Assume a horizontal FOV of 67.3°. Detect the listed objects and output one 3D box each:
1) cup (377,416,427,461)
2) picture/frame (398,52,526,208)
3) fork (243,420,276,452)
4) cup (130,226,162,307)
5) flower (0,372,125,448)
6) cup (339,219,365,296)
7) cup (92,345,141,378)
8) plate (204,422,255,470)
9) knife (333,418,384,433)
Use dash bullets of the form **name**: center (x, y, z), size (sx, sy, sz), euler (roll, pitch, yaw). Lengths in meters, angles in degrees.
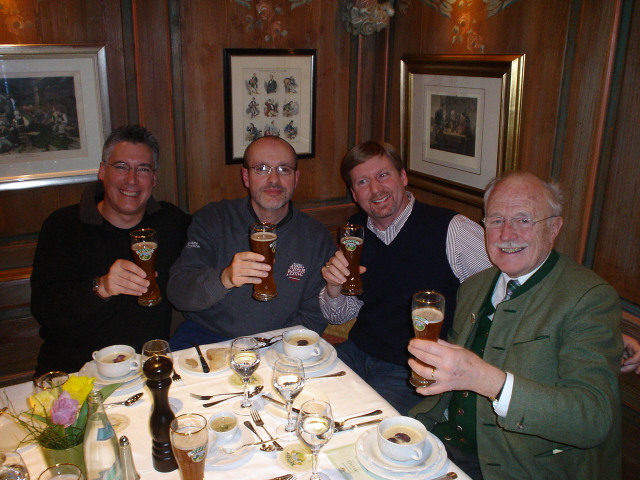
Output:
- **cup**: center (0.305, 0.723, 1.763), size (0.129, 0.071, 0.157), euler (0, 18, -6)
- **picture/frame**: center (1.009, -0.778, 3.327), size (0.085, 1.062, 1.170), euler (-13, 23, -30)
- **fork**: center (-0.230, 0.727, 1.848), size (0.047, 0.029, 0.225), euler (-2, 10, -29)
- **cup**: center (-0.889, 0.146, 2.470), size (0.126, 0.401, 0.232), euler (-7, 22, -13)
- **flower**: center (-0.920, 0.579, 1.683), size (0.327, 0.184, 0.327), euler (-12, 14, -38)
- **cup**: center (0.171, 0.112, 2.600), size (0.127, 0.441, 0.158), euler (-5, 22, -8)
- **cup**: center (-0.911, 0.533, 2.149), size (0.197, 0.074, 0.128), euler (9, 19, 18)
- **plate**: center (-0.335, 0.756, 1.798), size (0.172, 0.051, 0.201), euler (-4, 21, -7)
- **knife**: center (0.153, 0.724, 1.883), size (0.181, 0.025, 0.025), euler (-11, 35, -5)
